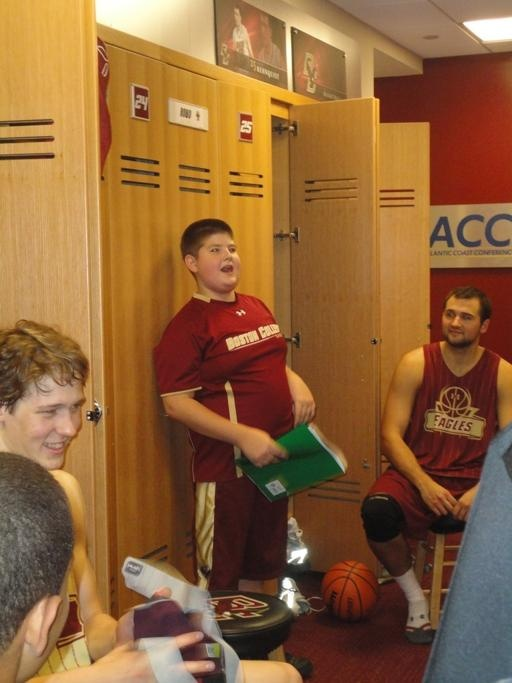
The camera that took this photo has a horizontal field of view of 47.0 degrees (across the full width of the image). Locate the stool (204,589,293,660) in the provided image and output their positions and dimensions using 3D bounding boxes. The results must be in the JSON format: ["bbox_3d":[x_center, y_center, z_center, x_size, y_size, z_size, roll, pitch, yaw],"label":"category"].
[{"bbox_3d":[-0.043,0.750,1.517,0.233,0.155,0.226,1,-3,-6],"label":"stool"}]

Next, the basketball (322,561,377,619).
[{"bbox_3d":[0.468,1.235,2.843,0.265,0.297,0.257,4,5,5],"label":"basketball"}]

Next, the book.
[{"bbox_3d":[0.130,0.433,2.068,0.310,0.109,0.310,-24,-44,21],"label":"book"}]
